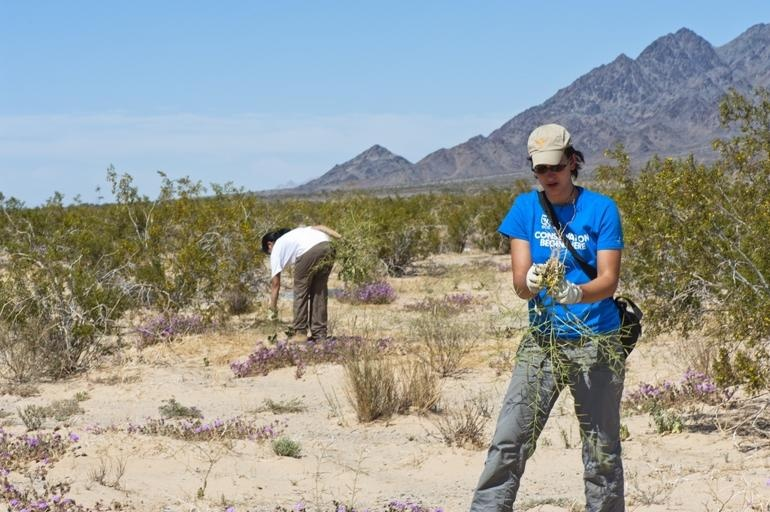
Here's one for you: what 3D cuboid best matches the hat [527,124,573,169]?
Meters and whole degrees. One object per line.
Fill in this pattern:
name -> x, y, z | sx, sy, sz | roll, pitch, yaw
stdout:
hat -> 1.746, -1.193, 9.491 | 0.324, 0.307, 0.565 | -12, 25, 28

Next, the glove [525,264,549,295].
glove -> 1.602, 0.234, 9.357 | 0.203, 0.302, 0.116 | 2, 12, -41
